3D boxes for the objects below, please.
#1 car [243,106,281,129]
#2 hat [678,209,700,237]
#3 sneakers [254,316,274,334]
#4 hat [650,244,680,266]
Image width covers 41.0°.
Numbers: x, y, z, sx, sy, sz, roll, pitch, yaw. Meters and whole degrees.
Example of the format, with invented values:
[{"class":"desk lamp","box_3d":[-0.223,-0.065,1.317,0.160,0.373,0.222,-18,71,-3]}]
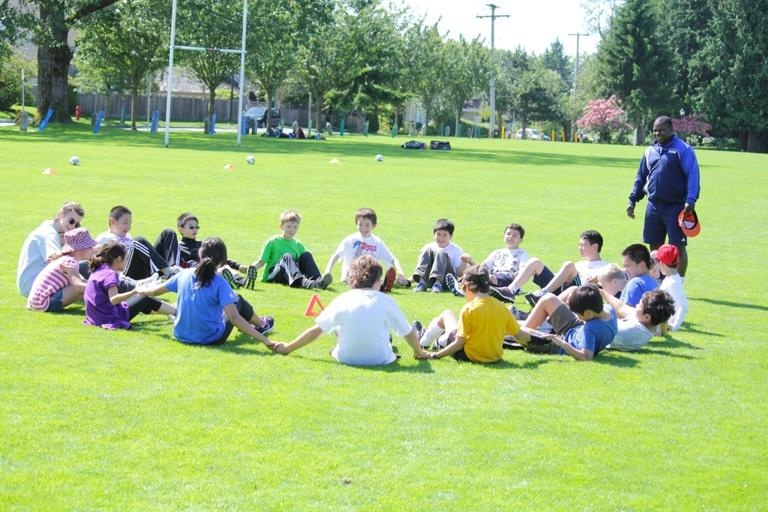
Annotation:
[{"class":"car","box_3d":[-7.631,-8.671,62.866,1.511,1.273,2.712,1,0,30]},{"class":"hat","box_3d":[4.713,-0.505,15.832,0.283,0.408,0.132,-16,9,17]},{"class":"sneakers","box_3d":[-1.526,0.926,13.278,0.110,0.137,0.311,16,38,24]},{"class":"hat","box_3d":[3.973,-0.005,14.529,0.263,0.205,0.353,-3,22,-14]}]
